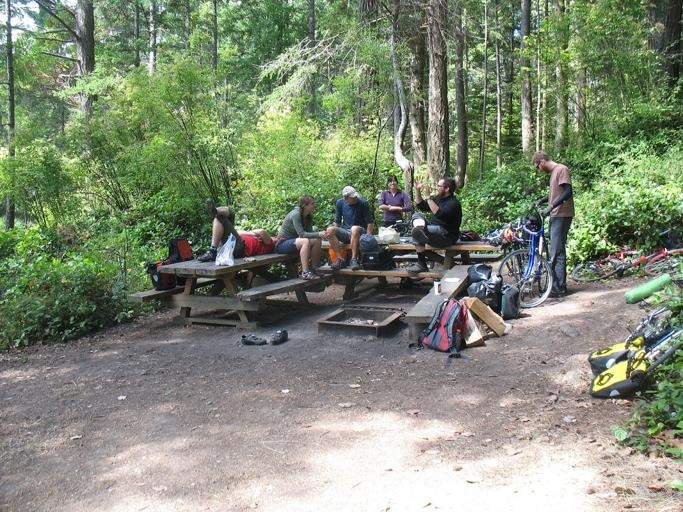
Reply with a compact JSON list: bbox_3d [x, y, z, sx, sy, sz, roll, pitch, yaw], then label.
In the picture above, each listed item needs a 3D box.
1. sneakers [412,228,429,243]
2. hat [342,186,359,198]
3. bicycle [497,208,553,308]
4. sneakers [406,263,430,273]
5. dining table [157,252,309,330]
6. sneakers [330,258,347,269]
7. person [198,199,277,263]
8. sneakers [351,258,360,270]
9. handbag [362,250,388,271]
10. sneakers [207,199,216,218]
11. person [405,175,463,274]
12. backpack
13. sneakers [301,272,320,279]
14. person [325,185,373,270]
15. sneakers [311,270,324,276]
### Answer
[{"bbox_3d":[1.278,-0.325,9.310,0.272,0.250,0.201,3,-1,9],"label":"sneakers"},{"bbox_3d":[0.120,-1.157,10.362,0.264,0.139,0.195,2,24,31],"label":"hat"},{"bbox_3d":[2.850,-0.001,8.738,0.727,1.440,1.466,-2,8,19],"label":"bicycle"},{"bbox_3d":[1.260,0.199,9.508,0.286,0.113,0.162,-1,1,-1],"label":"sneakers"},{"bbox_3d":[-1.922,0.536,8.859,1.292,0.607,1.814,1,4,19],"label":"dining table"},{"bbox_3d":[-0.058,0.138,9.767,0.133,0.116,0.290,-2,-2,39],"label":"sneakers"},{"bbox_3d":[-1.766,-0.311,9.462,0.732,0.844,1.681,1,-4,24],"label":"person"},{"bbox_3d":[0.221,0.139,9.765,0.207,0.196,0.569,-2,0,-1],"label":"sneakers"},{"bbox_3d":[0.529,0.077,9.703,0.416,0.292,0.299,-6,-8,40],"label":"handbag"},{"bbox_3d":[-2.085,-0.748,8.970,0.128,0.337,0.145,-6,-1,10],"label":"sneakers"},{"bbox_3d":[1.558,-0.542,9.606,0.887,1.523,0.814,-4,8,10],"label":"person"},{"bbox_3d":[1.236,0.950,7.277,0.324,0.534,0.578,22,-3,-39],"label":"backpack"},{"bbox_3d":[-0.519,0.322,9.332,0.300,0.126,0.116,0,4,11],"label":"sneakers"},{"bbox_3d":[0.123,-0.554,10.313,1.031,1.391,1.264,-2,7,14],"label":"person"},{"bbox_3d":[-0.430,0.293,9.381,0.087,0.068,0.168,-2,1,-41],"label":"sneakers"}]
